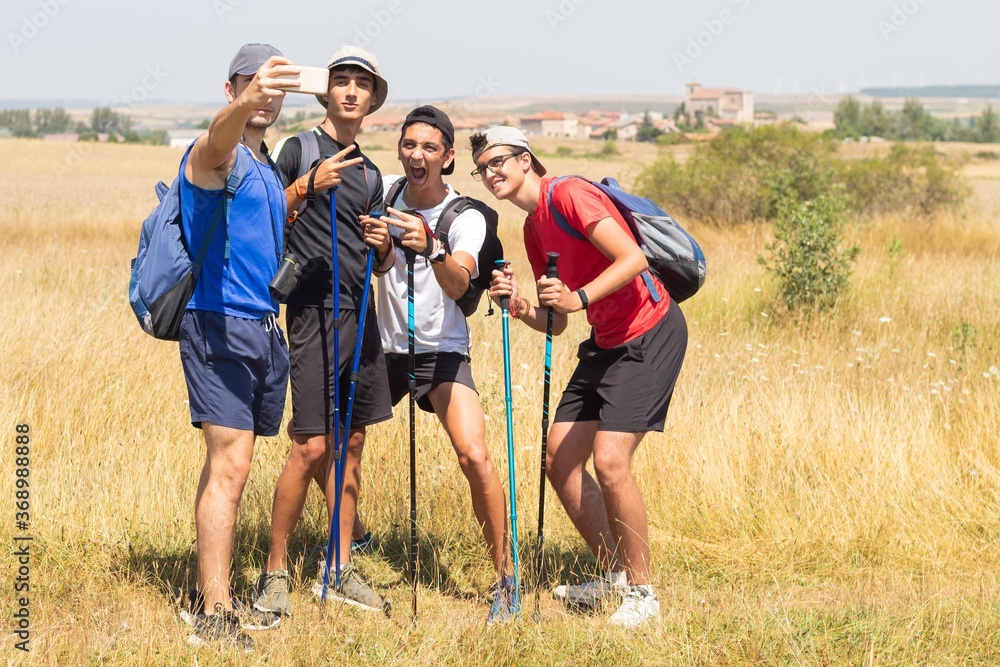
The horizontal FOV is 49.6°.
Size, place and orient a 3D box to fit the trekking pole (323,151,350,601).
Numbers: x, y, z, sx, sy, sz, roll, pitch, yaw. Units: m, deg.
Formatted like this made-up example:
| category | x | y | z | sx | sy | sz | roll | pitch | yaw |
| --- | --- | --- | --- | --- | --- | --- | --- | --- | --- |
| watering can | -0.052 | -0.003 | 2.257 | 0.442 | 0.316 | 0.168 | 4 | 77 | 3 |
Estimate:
| category | x | y | z | sx | sy | sz | roll | pitch | yaw |
| --- | --- | --- | --- | --- | --- | --- | --- | --- | --- |
| trekking pole | -1.296 | 0.520 | 8.557 | 0.229 | 3.260 | 0.645 | 0 | 11 | -9 |

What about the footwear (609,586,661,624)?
| category | x | y | z | sx | sy | sz | roll | pitch | yaw |
| --- | --- | --- | --- | --- | --- | --- | --- | --- | --- |
| footwear | 1.052 | 2.122 | 8.360 | 0.388 | 0.259 | 0.293 | 2 | 12 | -2 |

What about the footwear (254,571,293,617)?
| category | x | y | z | sx | sy | sz | roll | pitch | yaw |
| --- | --- | --- | --- | --- | --- | --- | --- | --- | --- |
| footwear | -1.776 | 2.073 | 8.571 | 0.184 | 0.203 | 0.442 | 20 | -5 | -21 |

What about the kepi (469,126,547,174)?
| category | x | y | z | sx | sy | sz | roll | pitch | yaw |
| --- | --- | --- | --- | --- | --- | --- | --- | --- | --- |
| kepi | 0.059 | -1.460 | 8.397 | 0.451 | 0.306 | 0.364 | 6 | 12 | -2 |

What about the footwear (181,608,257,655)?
| category | x | y | z | sx | sy | sz | roll | pitch | yaw |
| --- | --- | --- | --- | --- | --- | --- | --- | --- | --- |
| footwear | -2.079 | 2.242 | 8.125 | 0.533 | 0.272 | 0.228 | 3 | -2 | 15 |

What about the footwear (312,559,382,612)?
| category | x | y | z | sx | sy | sz | roll | pitch | yaw |
| --- | --- | --- | --- | --- | --- | --- | --- | --- | --- |
| footwear | -1.194 | 2.082 | 8.789 | 0.644 | 0.327 | 0.273 | 23 | 4 | 17 |

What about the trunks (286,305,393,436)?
| category | x | y | z | sx | sy | sz | roll | pitch | yaw |
| --- | --- | --- | --- | --- | --- | --- | --- | --- | --- |
| trunks | -1.287 | 0.294 | 8.630 | 0.885 | 1.280 | 0.549 | 1 | -4 | -33 |

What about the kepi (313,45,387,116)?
| category | x | y | z | sx | sy | sz | roll | pitch | yaw |
| --- | --- | --- | --- | --- | --- | --- | --- | --- | --- |
| kepi | -1.072 | -2.018 | 8.697 | 0.364 | 0.519 | 0.575 | 7 | 13 | 25 |

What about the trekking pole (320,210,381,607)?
| category | x | y | z | sx | sy | sz | roll | pitch | yaw |
| --- | --- | --- | --- | --- | --- | --- | --- | --- | --- |
| trekking pole | -1.211 | 0.709 | 8.632 | 0.478 | 3.362 | 0.277 | 2 | 10 | 0 |

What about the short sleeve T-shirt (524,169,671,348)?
| category | x | y | z | sx | sy | sz | roll | pitch | yaw |
| --- | --- | --- | --- | --- | --- | --- | --- | --- | --- |
| short sleeve T-shirt | 0.814 | -0.724 | 8.594 | 0.889 | 1.326 | 0.743 | -24 | 22 | 28 |
